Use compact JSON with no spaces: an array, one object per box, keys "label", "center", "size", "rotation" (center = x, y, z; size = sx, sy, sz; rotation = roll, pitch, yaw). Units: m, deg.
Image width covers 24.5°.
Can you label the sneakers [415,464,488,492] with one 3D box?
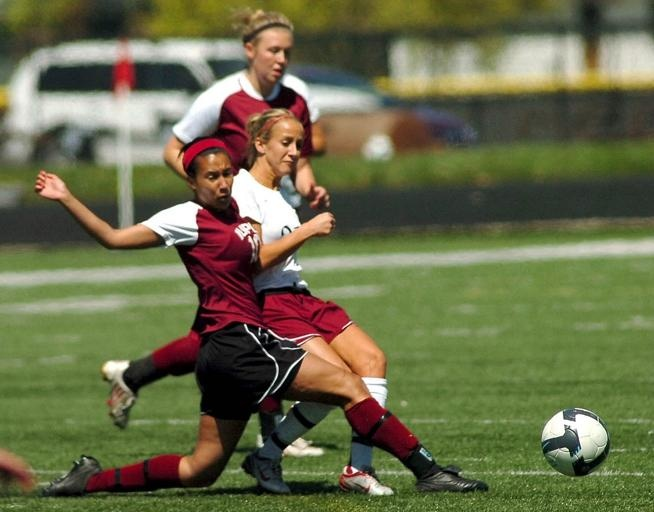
[{"label":"sneakers","center":[0.929,1.721,11.585],"size":[0.586,0.200,0.197],"rotation":[-1,-5,-2]}]

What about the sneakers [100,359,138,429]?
[{"label":"sneakers","center":[-1.685,1.086,12.148],"size":[0.239,0.569,0.280],"rotation":[-7,19,-16]}]

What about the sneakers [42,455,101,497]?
[{"label":"sneakers","center":[-1.948,1.719,11.610],"size":[0.384,0.164,0.292],"rotation":[-37,-14,5]}]

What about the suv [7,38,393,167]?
[{"label":"suv","center":[-2.177,-2.349,21.282],"size":[4.479,1.636,2.296],"rotation":[-2,4,8]}]

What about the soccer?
[{"label":"soccer","center":[1.831,1.554,11.844],"size":[0.564,0.510,0.547],"rotation":[-13,-26,13]}]

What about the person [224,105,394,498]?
[{"label":"person","center":[-0.081,0.386,11.859],"size":[1.608,3.030,1.215],"rotation":[3,7,27]}]
